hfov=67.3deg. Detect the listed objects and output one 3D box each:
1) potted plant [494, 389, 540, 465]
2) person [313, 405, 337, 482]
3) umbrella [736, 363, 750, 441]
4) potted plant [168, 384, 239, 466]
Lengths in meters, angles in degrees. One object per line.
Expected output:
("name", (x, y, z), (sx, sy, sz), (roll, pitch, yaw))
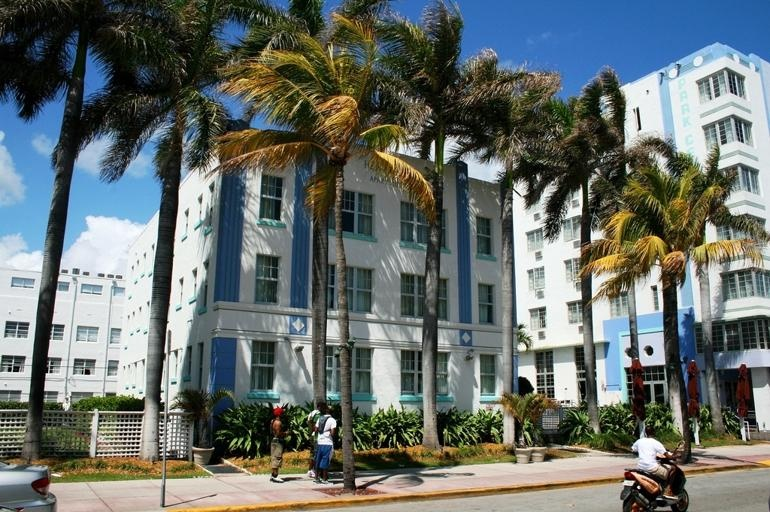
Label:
("potted plant", (5.947, 7.853, 26.676), (2.681, 3.218, 2.325), (3, -9, -7))
("person", (-2.146, 6.519, 20.262), (0.664, 2.647, 1.092), (1, -16, -8))
("umbrella", (21.015, 8.608, 34.129), (0.983, 4.310, 0.844), (1, -2, 24))
("potted plant", (-7.915, 6.848, 24.381), (2.288, 3.385, 2.479), (5, 3, 27))
